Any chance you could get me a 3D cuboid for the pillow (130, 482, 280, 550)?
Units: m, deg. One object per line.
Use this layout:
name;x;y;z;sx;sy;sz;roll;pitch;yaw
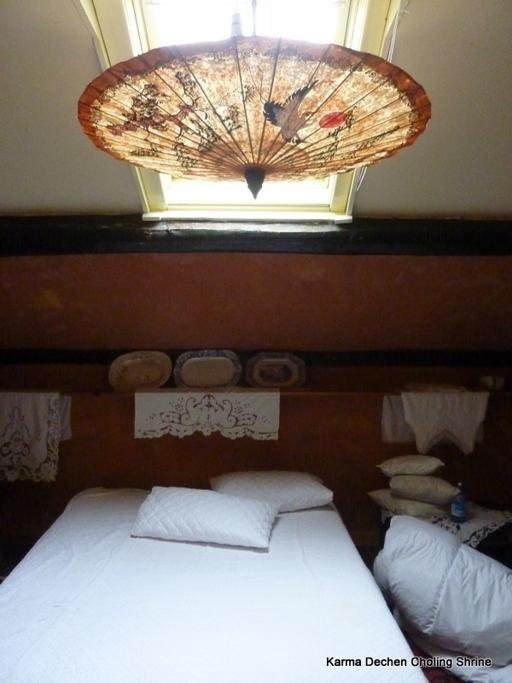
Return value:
pillow;-0.276;0.894;2.731;0.540;0.131;0.293;4;36;10
